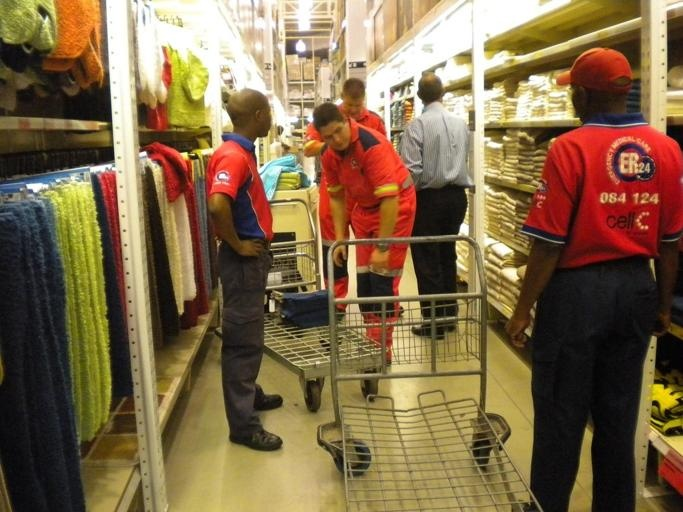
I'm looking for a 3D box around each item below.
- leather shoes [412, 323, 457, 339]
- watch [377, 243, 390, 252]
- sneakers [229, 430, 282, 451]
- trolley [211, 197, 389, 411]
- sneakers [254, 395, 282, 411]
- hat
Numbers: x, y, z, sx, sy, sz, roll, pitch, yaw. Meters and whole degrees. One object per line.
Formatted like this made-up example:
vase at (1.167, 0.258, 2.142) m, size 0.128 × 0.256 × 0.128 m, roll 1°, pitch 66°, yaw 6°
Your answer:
leather shoes at (0.635, 0.520, 3.542) m, size 0.349 × 0.073 × 0.232 m, roll 0°, pitch -30°, yaw -3°
watch at (0.270, -0.057, 3.395) m, size 0.057 × 0.041 × 0.056 m, roll 0°, pitch 9°, yaw 11°
sneakers at (-0.508, 1.074, 3.058) m, size 0.309 × 0.118 × 0.116 m, roll 1°, pitch 4°, yaw 8°
trolley at (-0.319, 0.262, 3.980) m, size 0.741 × 1.228 × 1.924 m, roll 4°, pitch 7°, yaw -23°
sneakers at (-0.501, 0.998, 3.518) m, size 0.212 × 0.086 × 0.076 m, roll -8°, pitch 26°, yaw -14°
hat at (1.033, -0.763, 2.065) m, size 0.227 × 0.153 × 0.305 m, roll -11°, pitch 30°, yaw -19°
